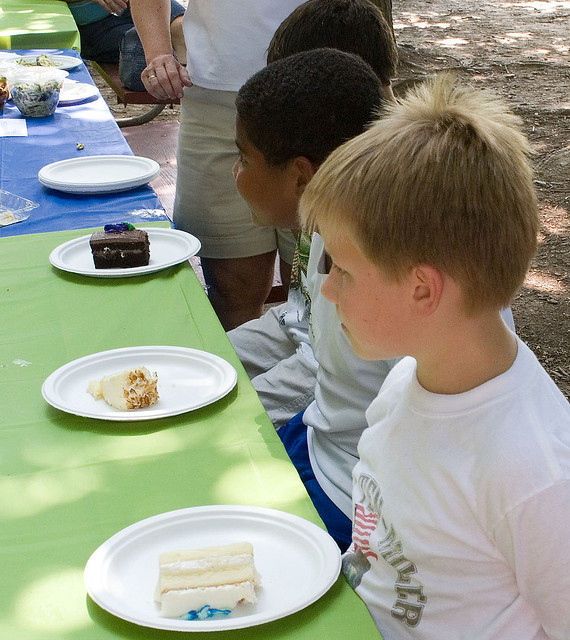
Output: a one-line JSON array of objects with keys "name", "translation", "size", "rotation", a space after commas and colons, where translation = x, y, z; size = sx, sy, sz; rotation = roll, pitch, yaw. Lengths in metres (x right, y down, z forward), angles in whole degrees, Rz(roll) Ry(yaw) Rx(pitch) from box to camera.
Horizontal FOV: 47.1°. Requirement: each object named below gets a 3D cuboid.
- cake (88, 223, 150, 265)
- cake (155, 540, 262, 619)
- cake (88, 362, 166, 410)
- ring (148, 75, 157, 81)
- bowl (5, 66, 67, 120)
[{"name": "cake", "translation": [-0.478, -0.209, 1.862], "size": [0.158, 0.083, 0.143], "rotation": [0, 9, 4]}, {"name": "cake", "translation": [-0.103, 0.345, 0.876], "size": [0.127, 0.047, 0.095], "rotation": [-4, 30, -11]}, {"name": "cake", "translation": [-0.315, 0.134, 1.329], "size": [0.180, 0.058, 0.126], "rotation": [1, -1, 26]}, {"name": "ring", "translation": [-0.495, -0.888, 2.423], "size": [0.023, 0.005, 0.020], "rotation": [-17, 39, 27]}, {"name": "bowl", "translation": [-1.240, -1.113, 3.266], "size": [0.335, 0.196, 0.297], "rotation": [-1, 20, -7]}]
